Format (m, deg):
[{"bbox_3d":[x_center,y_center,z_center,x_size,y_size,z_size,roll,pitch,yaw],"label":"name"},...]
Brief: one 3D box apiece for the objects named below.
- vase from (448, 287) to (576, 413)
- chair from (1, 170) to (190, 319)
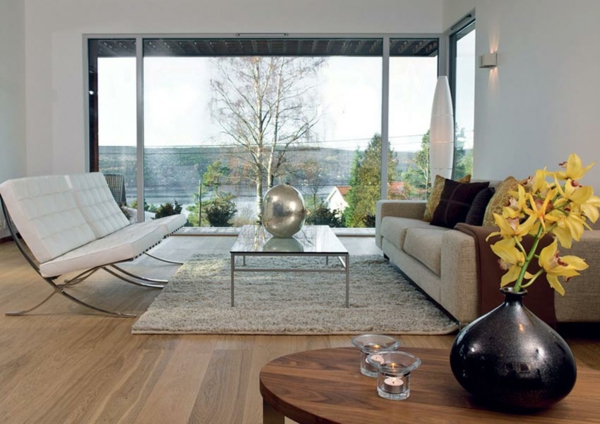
[{"bbox_3d":[0.749,0.472,1.477,0.392,0.359,0.393,0,0,5],"label":"vase"},{"bbox_3d":[-1.829,0.202,3.885,1.197,1.116,1.747,0,9,-2],"label":"chair"}]
